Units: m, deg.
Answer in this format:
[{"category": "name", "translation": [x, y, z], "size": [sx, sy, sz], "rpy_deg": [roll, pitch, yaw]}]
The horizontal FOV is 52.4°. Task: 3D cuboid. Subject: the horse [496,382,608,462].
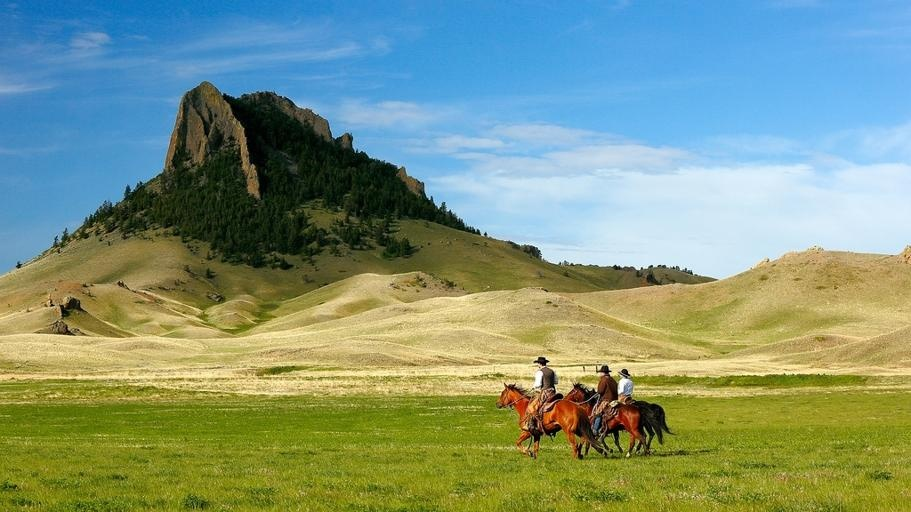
[{"category": "horse", "translation": [11.327, 19.358, 107.916], "size": [11.160, 8.081, 4.146], "rpy_deg": [1, 7, 11]}]
